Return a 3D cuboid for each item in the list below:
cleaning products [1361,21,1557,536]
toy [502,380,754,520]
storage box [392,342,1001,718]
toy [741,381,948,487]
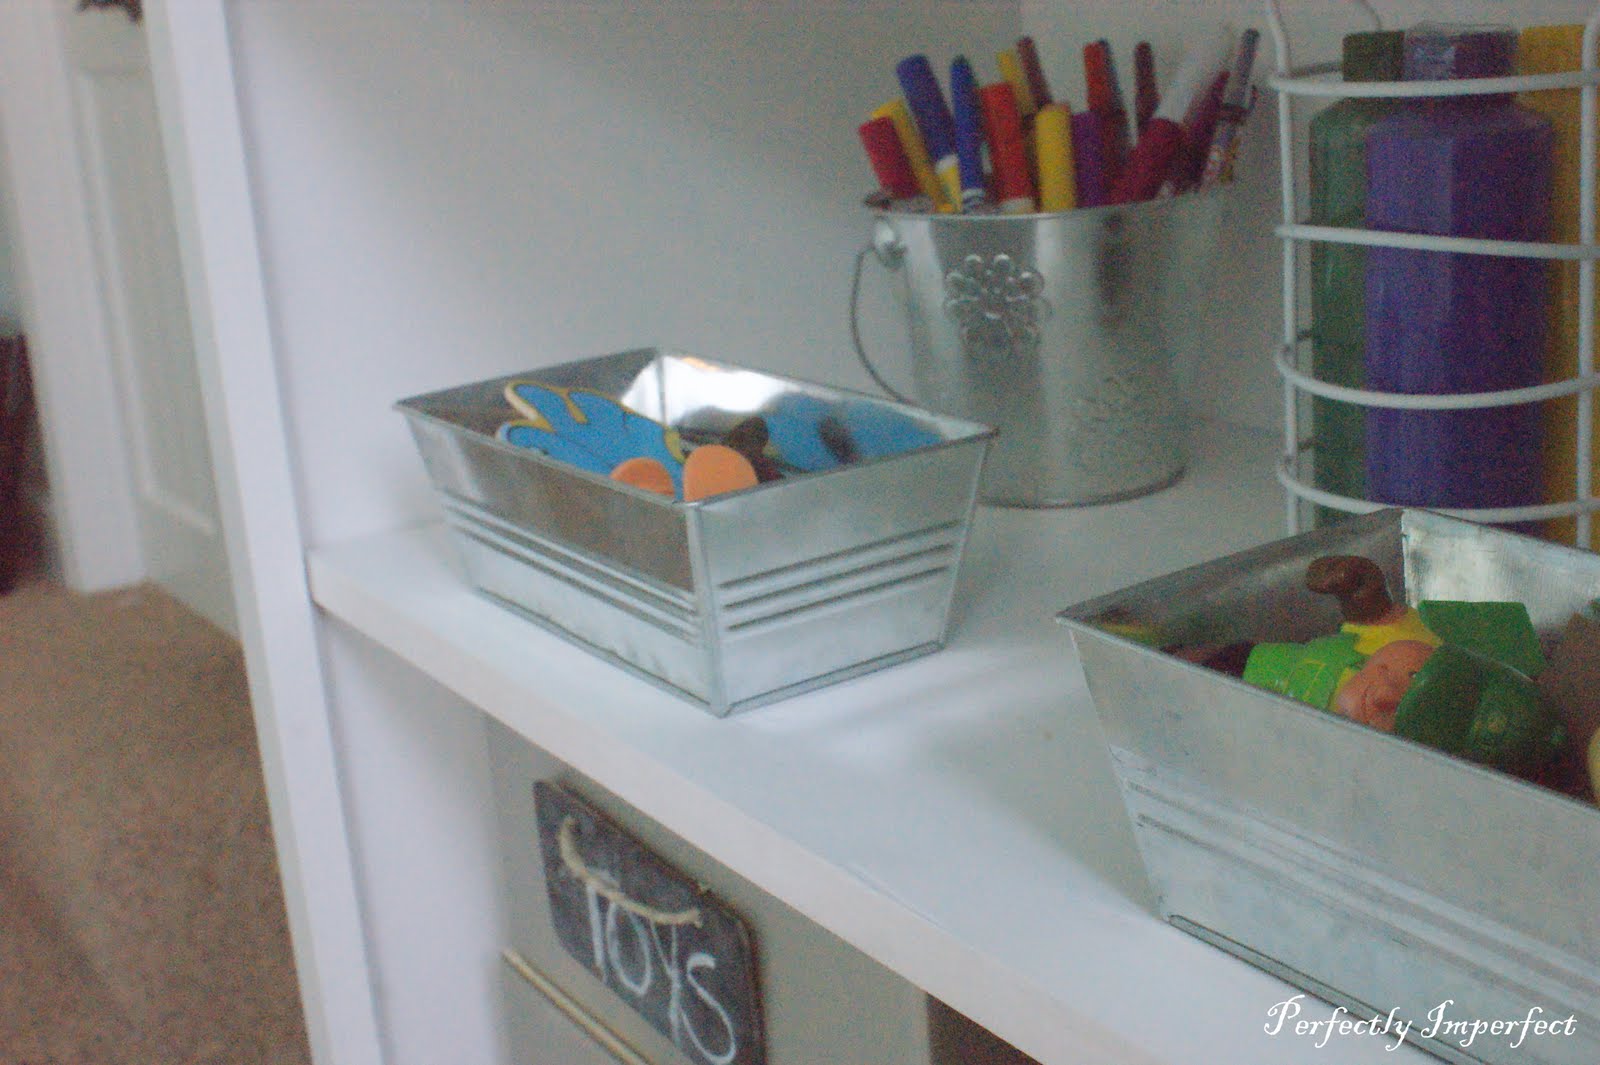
[{"bbox_3d":[0.286,-0.103,0.577,0.079,0.196,0.074,-3,23,4],"label":"cleaning products"},{"bbox_3d":[-0.083,-0.057,0.695,0.140,0.015,0.061,27,37,30],"label":"toy"},{"bbox_3d":[-0.043,0.008,0.675,0.168,0.100,0.260,-16,26,-41],"label":"storage box"},{"bbox_3d":[0.024,-0.053,0.695,0.049,0.026,0.075,-9,15,-33],"label":"toy"}]
